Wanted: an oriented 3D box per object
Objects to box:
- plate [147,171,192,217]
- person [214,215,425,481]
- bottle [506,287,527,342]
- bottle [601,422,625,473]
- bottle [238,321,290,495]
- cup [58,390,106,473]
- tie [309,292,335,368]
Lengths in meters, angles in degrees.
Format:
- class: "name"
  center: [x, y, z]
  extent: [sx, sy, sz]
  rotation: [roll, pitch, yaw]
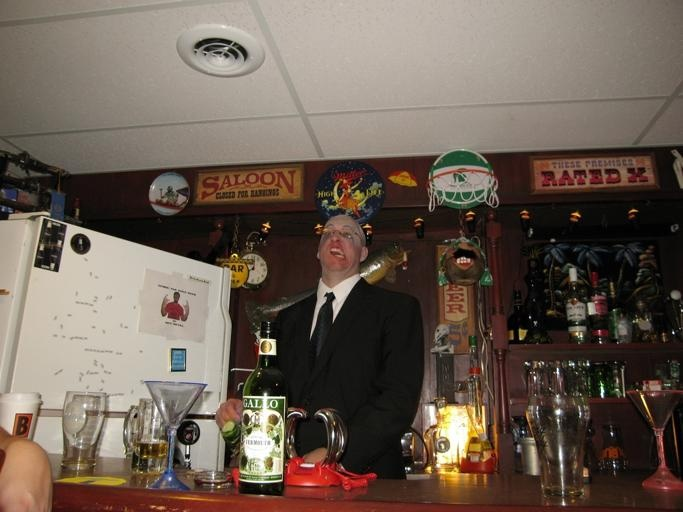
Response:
- class: "plate"
  center: [-1.397, -0.500, 4.264]
  extent: [0.332, 0.341, 0.082]
  rotation: [-3, -1, 9]
- class: "person"
  center: [0.050, 0.271, 2.067]
  extent: [0.562, 1.107, 0.695]
  rotation: [5, -19, -10]
- class: "bottle"
  center: [1.264, 0.455, 3.806]
  extent: [0.137, 0.407, 0.326]
  rotation: [-5, -20, 18]
- class: "bottle"
  center: [1.786, 1.275, 3.500]
  extent: [0.144, 0.299, 0.256]
  rotation: [-8, -21, 25]
- class: "bottle"
  center: [-0.196, 0.385, 1.358]
  extent: [0.116, 0.418, 0.139]
  rotation: [4, -19, -8]
- class: "cup"
  center: [-0.872, 0.579, 1.770]
  extent: [0.132, 0.255, 0.270]
  rotation: [10, -21, -24]
- class: "tie"
  center: [-0.082, 0.282, 2.152]
  extent: [0.069, 0.270, 0.017]
  rotation: [11, -43, 8]
